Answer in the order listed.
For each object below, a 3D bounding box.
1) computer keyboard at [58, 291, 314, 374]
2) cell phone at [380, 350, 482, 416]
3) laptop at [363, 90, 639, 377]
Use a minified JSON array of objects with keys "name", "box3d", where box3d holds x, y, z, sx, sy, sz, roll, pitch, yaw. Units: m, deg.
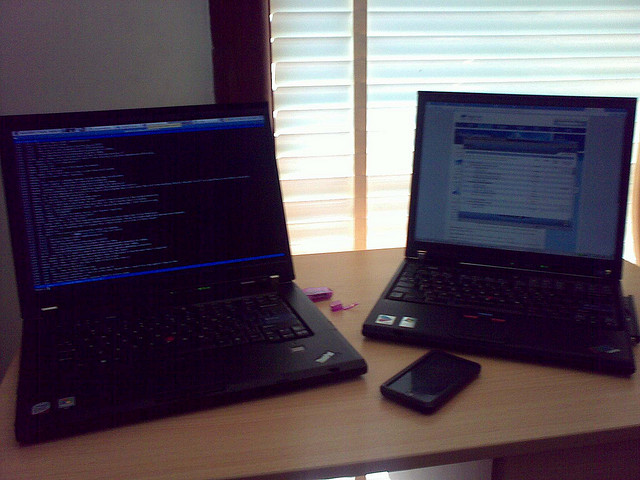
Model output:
[{"name":"computer keyboard","box3d":[-0.253,0.164,1.016,0.476,0.016,0.189,0,40,-13]},{"name":"cell phone","box3d":[0.192,0.241,0.914,0.165,0.046,0.091,-14,20,-41]},{"name":"laptop","box3d":[0.380,-0.051,1.069,0.491,0.480,0.377,4,18,17]}]
